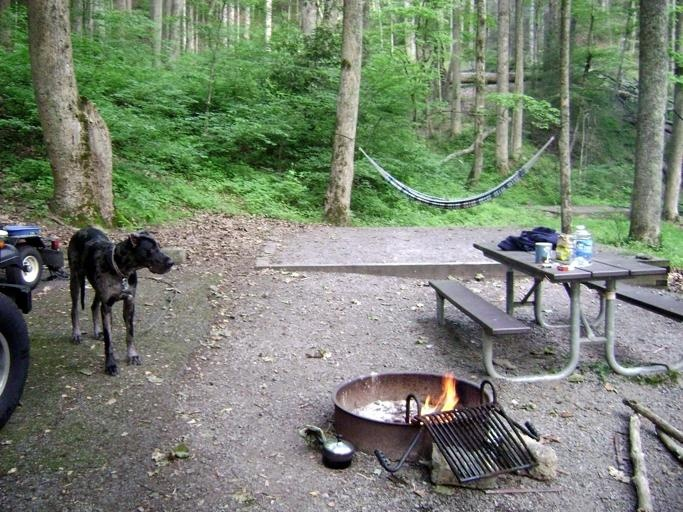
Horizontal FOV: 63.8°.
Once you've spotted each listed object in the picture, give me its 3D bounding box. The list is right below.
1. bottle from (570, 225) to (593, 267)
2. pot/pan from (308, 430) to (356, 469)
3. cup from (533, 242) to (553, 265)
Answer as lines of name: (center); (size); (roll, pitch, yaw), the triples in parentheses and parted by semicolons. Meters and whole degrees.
bottle: (2.292, -0.109, 5.213); (0.189, 0.348, 0.452); (8, 18, 23)
pot/pan: (-0.095, 1.545, 4.398); (0.207, 0.156, 0.333); (3, -4, -33)
cup: (1.939, -0.015, 5.240); (0.204, 0.180, 0.189); (0, 5, 0)
